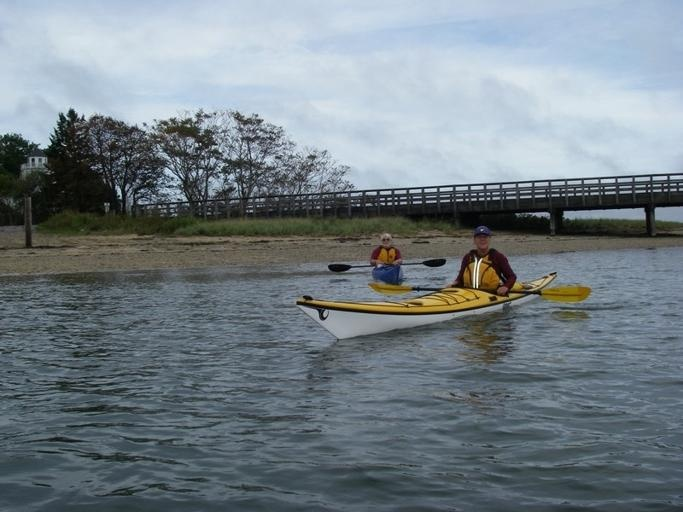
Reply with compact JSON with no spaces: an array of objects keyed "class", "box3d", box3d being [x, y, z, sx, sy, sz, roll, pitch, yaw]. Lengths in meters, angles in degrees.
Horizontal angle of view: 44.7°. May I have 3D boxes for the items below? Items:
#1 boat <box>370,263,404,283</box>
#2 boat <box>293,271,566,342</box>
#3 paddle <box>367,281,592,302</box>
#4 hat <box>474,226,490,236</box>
[{"class":"boat","box3d":[0.871,0.325,16.175,0.465,0.293,1.107,-2,6,2]},{"class":"boat","box3d":[1.409,0.748,12.263,5.797,0.530,0.938,-4,7,-41]},{"class":"paddle","box3d":[2.203,0.583,13.453,2.445,0.182,0.329,3,-2,-17]},{"class":"hat","box3d":[2.053,-0.384,12.266,0.248,0.116,0.278,-3,-10,12]}]
